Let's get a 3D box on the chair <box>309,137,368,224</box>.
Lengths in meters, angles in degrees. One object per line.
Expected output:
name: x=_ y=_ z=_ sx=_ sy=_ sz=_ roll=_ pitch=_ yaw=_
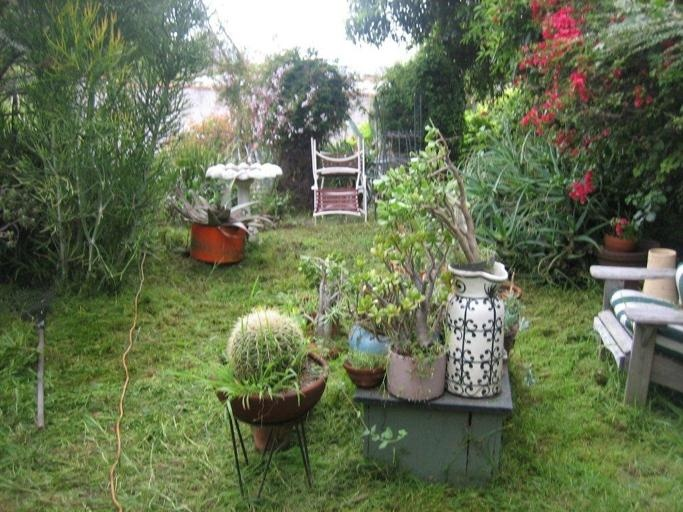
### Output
chair: x=-0.087 y=-1.136 z=9.330 sx=0.676 sy=1.466 sz=0.745 roll=-2 pitch=4 yaw=-9

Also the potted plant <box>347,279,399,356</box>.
potted plant: x=0.229 y=0.404 z=4.168 sx=0.333 sy=0.517 sz=0.379 roll=4 pitch=15 yaw=10

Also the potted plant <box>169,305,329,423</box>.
potted plant: x=-0.465 y=0.668 z=3.710 sx=0.751 sy=0.678 sz=0.437 roll=0 pitch=5 yaw=-4

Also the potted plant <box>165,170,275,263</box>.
potted plant: x=-1.419 y=-0.348 z=6.649 sx=0.845 sy=0.718 sz=0.931 roll=6 pitch=4 yaw=26

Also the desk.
desk: x=0.597 y=1.113 z=3.918 sx=0.577 sy=0.512 sz=0.689 roll=0 pitch=11 yaw=4

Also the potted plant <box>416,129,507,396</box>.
potted plant: x=0.863 y=-0.024 z=4.193 sx=0.583 sy=1.689 sz=1.178 roll=1 pitch=5 yaw=16

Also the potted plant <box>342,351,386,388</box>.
potted plant: x=0.156 y=0.707 z=3.807 sx=0.185 sy=0.178 sz=0.215 roll=0 pitch=1 yaw=-3
